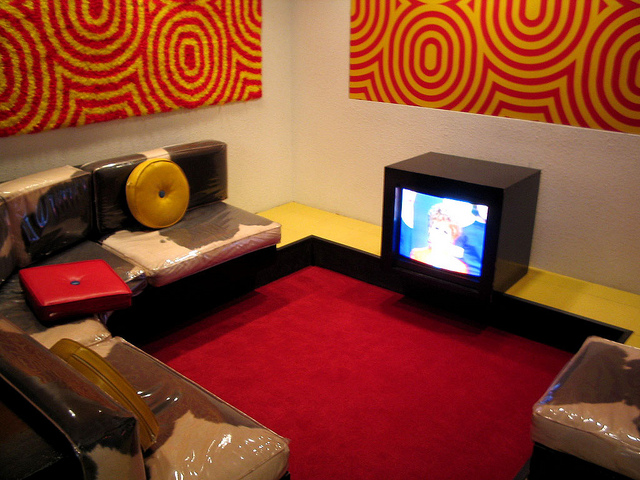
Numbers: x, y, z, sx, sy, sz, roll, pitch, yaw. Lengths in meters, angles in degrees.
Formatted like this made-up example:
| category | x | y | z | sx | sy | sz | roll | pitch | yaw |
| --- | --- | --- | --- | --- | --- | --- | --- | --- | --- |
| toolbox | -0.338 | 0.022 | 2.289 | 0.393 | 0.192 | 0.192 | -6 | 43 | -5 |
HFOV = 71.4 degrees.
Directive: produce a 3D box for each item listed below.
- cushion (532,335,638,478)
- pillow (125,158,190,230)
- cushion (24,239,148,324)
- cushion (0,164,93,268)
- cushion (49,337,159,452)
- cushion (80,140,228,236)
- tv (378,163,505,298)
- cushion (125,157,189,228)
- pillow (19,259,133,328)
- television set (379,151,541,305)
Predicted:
| category | x | y | z | sx | sy | sz | roll | pitch | yaw |
| --- | --- | --- | --- | --- | --- | --- | --- | --- | --- |
| cushion | 1.012 | 0.620 | 1.657 | 0.397 | 0.136 | 0.403 | 13 | 35 | 34 |
| pillow | -1.071 | -0.295 | 2.896 | 0.155 | 0.427 | 0.454 | 7 | 15 | 39 |
| cushion | -1.557 | 0.241 | 2.762 | 0.570 | 0.573 | 0.123 | -20 | 68 | -12 |
| cushion | -1.542 | -0.123 | 2.504 | 0.276 | 0.413 | 0.515 | 8 | 24 | 26 |
| cushion | -0.712 | 0.470 | 1.525 | 0.141 | 0.387 | 0.374 | -47 | 42 | -10 |
| cushion | -1.130 | -0.337 | 2.947 | 0.119 | 0.300 | 0.721 | 13 | 24 | 39 |
| tv | 0.863 | -0.082 | 2.878 | 0.757 | 0.626 | 0.409 | 16 | 27 | 37 |
| cushion | -1.074 | -0.302 | 2.895 | 0.152 | 0.411 | 0.452 | 8 | 14 | 39 |
| pillow | -1.232 | 0.248 | 2.241 | 0.516 | 0.116 | 0.487 | 4 | 21 | -23 |
| television set | 0.928 | -0.100 | 2.929 | 0.833 | 0.696 | 0.630 | 17 | 29 | 38 |
